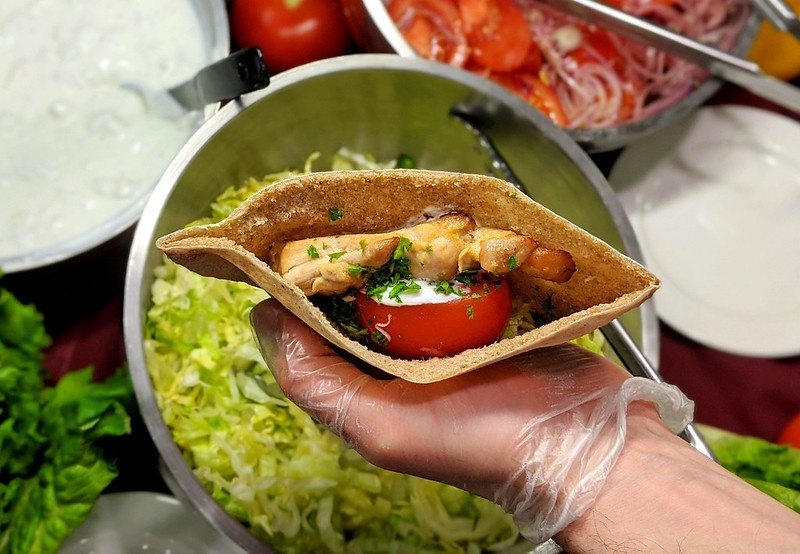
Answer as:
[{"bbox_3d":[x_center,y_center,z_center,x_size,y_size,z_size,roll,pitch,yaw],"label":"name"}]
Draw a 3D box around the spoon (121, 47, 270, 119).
[{"bbox_3d":[-0.560,-0.582,2.078,0.484,0.116,0.105,5,50,46],"label":"spoon"}]
